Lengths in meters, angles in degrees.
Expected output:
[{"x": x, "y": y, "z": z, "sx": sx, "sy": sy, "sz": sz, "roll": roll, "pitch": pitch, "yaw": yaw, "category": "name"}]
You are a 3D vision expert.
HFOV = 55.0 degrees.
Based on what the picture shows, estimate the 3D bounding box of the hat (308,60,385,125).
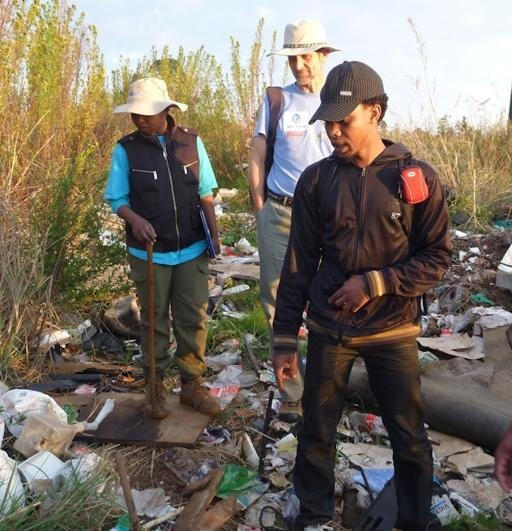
[{"x": 0.373, "y": -0.710, "z": 2.014, "sx": 0.316, "sy": 0.258, "sz": 0.195, "roll": 4, "pitch": 11, "yaw": 10, "category": "hat"}]

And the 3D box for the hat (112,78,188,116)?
[{"x": -0.666, "y": -1.021, "z": 3.090, "sx": 0.390, "sy": 0.182, "sz": 0.369, "roll": 1, "pitch": 19, "yaw": 4, "category": "hat"}]

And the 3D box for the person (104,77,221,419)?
[{"x": -0.589, "y": -0.100, "z": 3.193, "sx": 0.739, "sy": 2.179, "sz": 0.504, "roll": -1, "pitch": 11, "yaw": -17, "category": "person"}]

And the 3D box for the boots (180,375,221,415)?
[{"x": -0.389, "y": 0.872, "z": 3.348, "sx": 0.340, "sy": 0.200, "sz": 0.122, "roll": 10, "pitch": 20, "yaw": 33, "category": "boots"}]

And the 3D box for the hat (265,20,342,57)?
[{"x": 0.311, "y": -1.456, "z": 3.139, "sx": 0.404, "sy": 0.262, "sz": 0.345, "roll": 3, "pitch": 10, "yaw": 3, "category": "hat"}]
